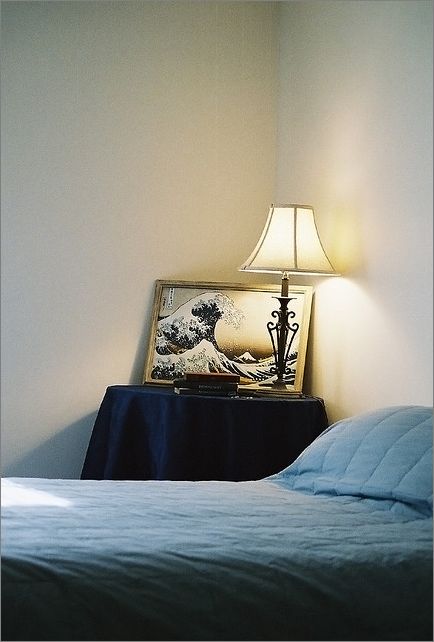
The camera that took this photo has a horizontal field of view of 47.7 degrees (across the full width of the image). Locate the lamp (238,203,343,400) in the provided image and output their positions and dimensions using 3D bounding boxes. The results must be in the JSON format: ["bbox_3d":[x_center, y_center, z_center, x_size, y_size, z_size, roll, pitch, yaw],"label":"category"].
[{"bbox_3d":[0.309,-0.090,2.057,0.383,0.759,0.419,2,-4,18],"label":"lamp"}]

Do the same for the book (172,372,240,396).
[{"bbox_3d":[-0.041,0.244,1.924,0.134,0.052,0.133,-1,2,-16],"label":"book"}]
